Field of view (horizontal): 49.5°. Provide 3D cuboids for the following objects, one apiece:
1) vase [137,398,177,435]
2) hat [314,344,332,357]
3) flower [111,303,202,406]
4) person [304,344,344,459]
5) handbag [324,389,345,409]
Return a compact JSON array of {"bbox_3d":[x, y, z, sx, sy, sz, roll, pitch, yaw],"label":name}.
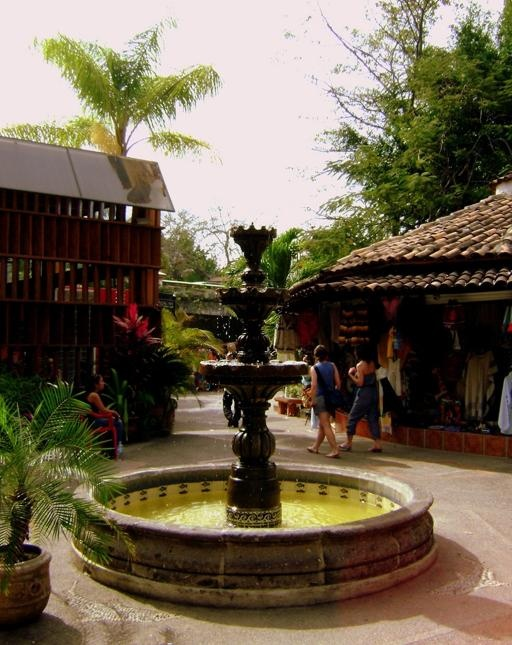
[{"bbox_3d":[-1.815,1.794,10.328,0.595,0.466,0.641,0,-9,0],"label":"vase"},{"bbox_3d":[0.958,0.439,8.238,0.223,0.258,0.279,3,1,17],"label":"hat"},{"bbox_3d":[-1.907,0.624,10.078,1.314,1.821,0.580,0,-3,-39],"label":"flower"},{"bbox_3d":[1.015,1.213,8.443,0.508,1.691,1.038,-1,-2,5],"label":"person"},{"bbox_3d":[1.184,1.114,8.340,0.259,0.453,0.330,-2,2,12],"label":"handbag"}]
